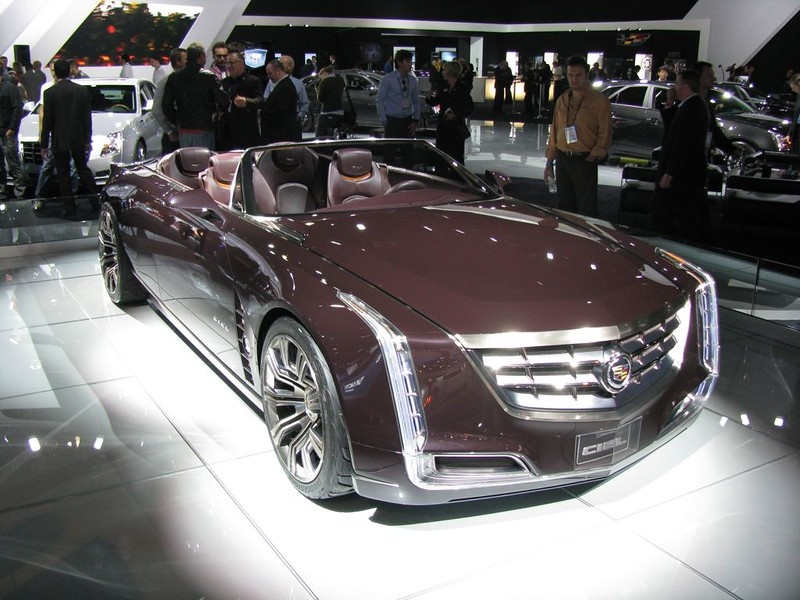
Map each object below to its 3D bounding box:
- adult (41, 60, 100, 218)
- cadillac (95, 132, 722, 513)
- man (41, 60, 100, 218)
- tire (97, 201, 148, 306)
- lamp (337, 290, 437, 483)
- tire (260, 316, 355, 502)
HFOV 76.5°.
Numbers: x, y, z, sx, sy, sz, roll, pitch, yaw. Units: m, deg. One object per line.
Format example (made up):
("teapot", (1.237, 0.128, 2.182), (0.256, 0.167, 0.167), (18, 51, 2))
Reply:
("adult", (-4.840, -2.465, 7.386), (0.738, 1.866, 0.629), (15, 21, 34))
("cadillac", (-0.466, 0.006, 3.151), (1.802, 1.128, 3.546), (-9, 20, -30))
("man", (-4.832, -2.463, 7.381), (0.719, 1.864, 0.629), (15, 21, 34))
("tire", (-2.251, -0.383, 4.133), (0.280, 0.745, 0.717), (-3, -15, -27))
("lamp", (-0.047, 0.341, 1.969), (0.106, 0.607, 0.460), (-10, 21, -36))
("tire", (-0.390, 0.466, 2.182), (0.183, 0.576, 0.569), (-3, 46, -35))
